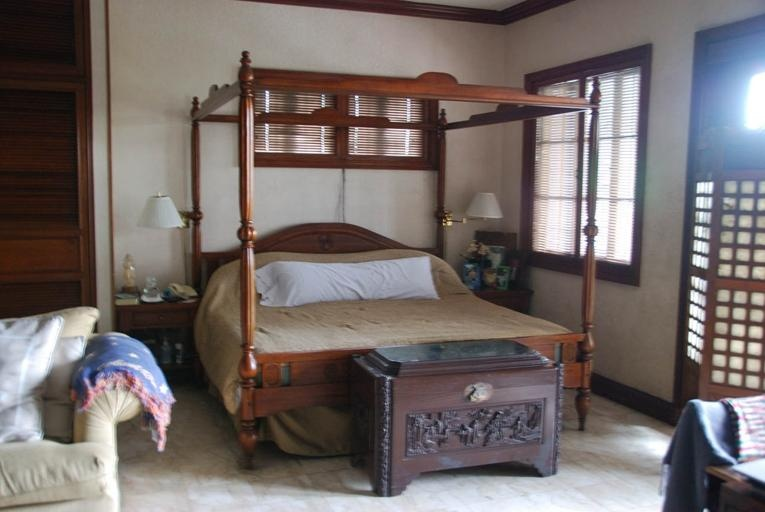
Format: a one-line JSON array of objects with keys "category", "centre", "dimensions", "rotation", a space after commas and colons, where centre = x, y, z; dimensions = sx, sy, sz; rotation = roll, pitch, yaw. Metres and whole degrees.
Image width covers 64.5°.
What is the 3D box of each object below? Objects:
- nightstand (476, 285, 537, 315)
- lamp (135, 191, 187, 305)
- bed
[{"category": "nightstand", "centre": [1.265, 0.416, 6.126], "dimensions": [0.499, 0.401, 0.291], "rotation": [0, 6, -9]}, {"category": "lamp", "centre": [-2.016, -0.099, 5.573], "dimensions": [0.419, 0.913, 0.570], "rotation": [-4, 15, -16]}, {"category": "bed", "centre": [-0.609, 0.618, 5.132], "dimensions": [2.553, 1.166, 2.385], "rotation": [-1, 2, -24]}]
